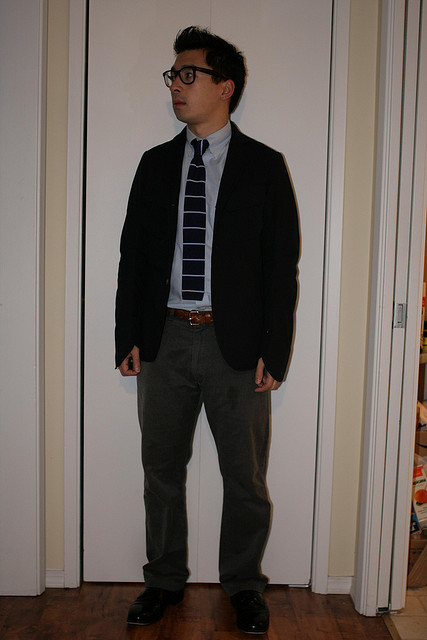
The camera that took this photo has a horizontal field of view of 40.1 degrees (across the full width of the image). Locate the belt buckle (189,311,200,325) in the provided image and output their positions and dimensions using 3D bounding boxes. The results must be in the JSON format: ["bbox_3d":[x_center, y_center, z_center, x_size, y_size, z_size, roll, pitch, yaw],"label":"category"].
[{"bbox_3d":[-0.052,-0.004,1.618,0.029,0.036,0.008,0,2,17],"label":"belt buckle"}]

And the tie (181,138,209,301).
[{"bbox_3d":[-0.050,-0.280,1.628,0.065,0.434,0.107,1,9,-1],"label":"tie"}]

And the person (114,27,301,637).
[{"bbox_3d":[-0.029,0.085,1.634,0.502,1.532,0.313,3,9,8],"label":"person"}]

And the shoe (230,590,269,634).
[{"bbox_3d":[0.105,0.803,1.625,0.046,0.058,0.133,-1,6,-5],"label":"shoe"}]

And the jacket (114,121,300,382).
[{"bbox_3d":[-0.021,-0.177,1.632,0.553,0.923,0.278,4,9,6],"label":"jacket"}]
